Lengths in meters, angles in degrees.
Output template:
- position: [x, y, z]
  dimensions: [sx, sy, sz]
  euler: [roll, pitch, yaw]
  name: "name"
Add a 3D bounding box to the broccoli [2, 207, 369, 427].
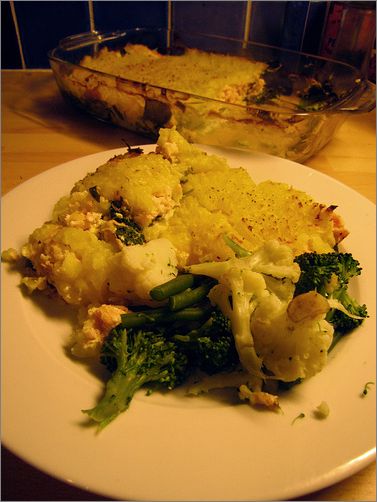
- position: [0.002, 0.199, 1.293]
  dimensions: [0.653, 0.146, 0.613]
  euler: [22, 43, 31]
  name: "broccoli"
